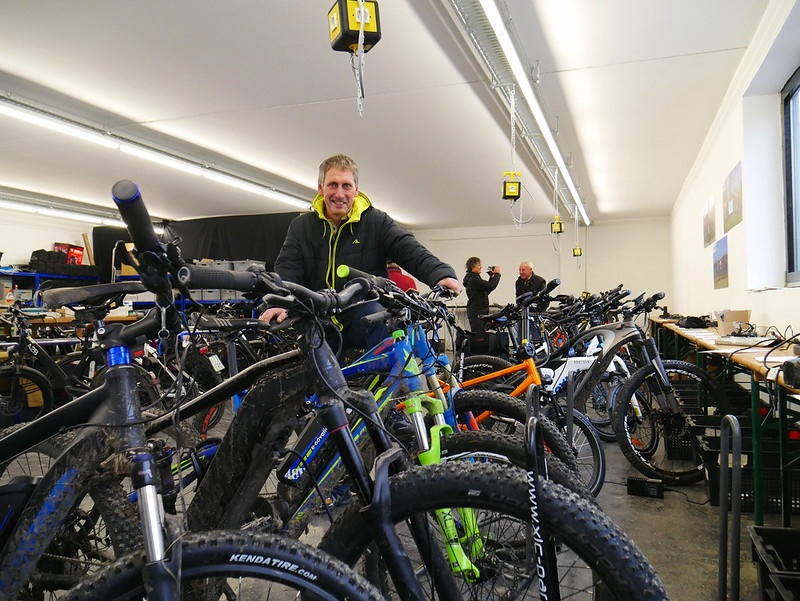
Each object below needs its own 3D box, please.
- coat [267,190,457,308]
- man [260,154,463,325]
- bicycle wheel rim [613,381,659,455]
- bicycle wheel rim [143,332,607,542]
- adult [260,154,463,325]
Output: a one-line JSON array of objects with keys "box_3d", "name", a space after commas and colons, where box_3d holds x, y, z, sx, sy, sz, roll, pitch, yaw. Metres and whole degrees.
[{"box_3d": [-0.237, -0.272, 2.761, 0.804, 0.571, 0.508, -6, 0, -4], "name": "coat"}, {"box_3d": [-0.292, -0.357, 2.758, 0.960, 0.801, 0.593, -6, -3, -6], "name": "man"}, {"box_3d": [1.517, 0.755, 3.603, 0.132, 0.525, 0.460, -5, -2, 43], "name": "bicycle wheel rim"}, {"box_3d": [-0.168, 0.357, 2.111, 1.096, 0.823, 0.747, -1, 2, 2], "name": "bicycle wheel rim"}, {"box_3d": [-0.293, -0.353, 2.767, 0.977, 0.817, 0.570, -6, -2, -9], "name": "adult"}]
